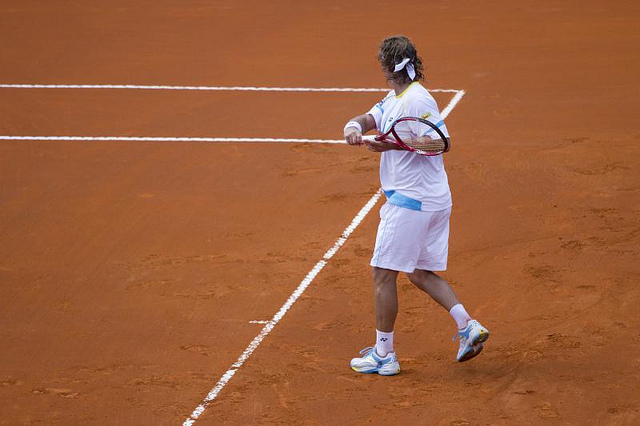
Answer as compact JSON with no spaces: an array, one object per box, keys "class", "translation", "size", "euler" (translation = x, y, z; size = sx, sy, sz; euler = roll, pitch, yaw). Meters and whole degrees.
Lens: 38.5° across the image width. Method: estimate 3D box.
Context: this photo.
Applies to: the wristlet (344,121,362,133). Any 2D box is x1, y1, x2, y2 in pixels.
[{"class":"wristlet","translation":[0.380,-1.013,10.906],"size":[0.226,0.138,0.202],"euler":[1,16,13]}]
